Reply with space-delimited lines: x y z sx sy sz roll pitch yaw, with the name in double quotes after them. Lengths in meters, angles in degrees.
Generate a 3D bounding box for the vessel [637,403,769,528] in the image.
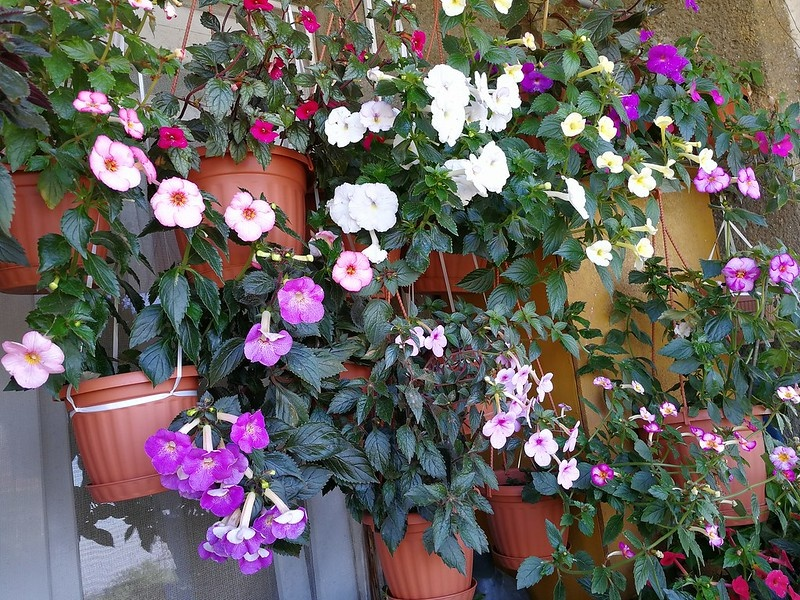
0.895 0.464 1.912 0.322 0.331 0.340 -1 -9 -1 "vessel"

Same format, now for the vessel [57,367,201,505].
-0.609 0.295 1.515 0.284 0.243 0.295 -14 -11 30 "vessel"

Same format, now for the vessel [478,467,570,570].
0.342 0.600 1.917 0.272 0.257 0.272 -5 -8 41 "vessel"

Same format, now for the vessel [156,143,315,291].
-0.371 -0.206 1.578 0.349 0.345 0.222 -1 2 -21 "vessel"
